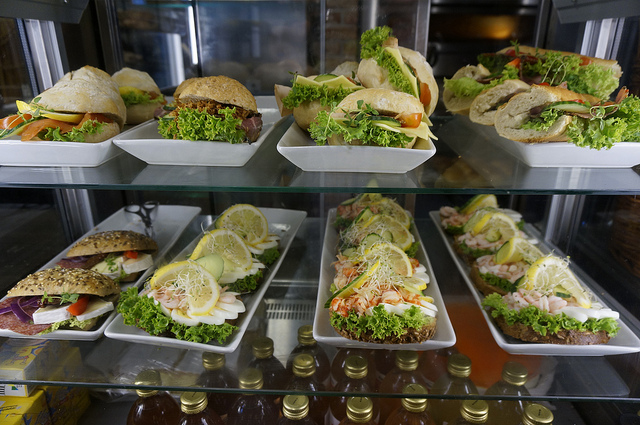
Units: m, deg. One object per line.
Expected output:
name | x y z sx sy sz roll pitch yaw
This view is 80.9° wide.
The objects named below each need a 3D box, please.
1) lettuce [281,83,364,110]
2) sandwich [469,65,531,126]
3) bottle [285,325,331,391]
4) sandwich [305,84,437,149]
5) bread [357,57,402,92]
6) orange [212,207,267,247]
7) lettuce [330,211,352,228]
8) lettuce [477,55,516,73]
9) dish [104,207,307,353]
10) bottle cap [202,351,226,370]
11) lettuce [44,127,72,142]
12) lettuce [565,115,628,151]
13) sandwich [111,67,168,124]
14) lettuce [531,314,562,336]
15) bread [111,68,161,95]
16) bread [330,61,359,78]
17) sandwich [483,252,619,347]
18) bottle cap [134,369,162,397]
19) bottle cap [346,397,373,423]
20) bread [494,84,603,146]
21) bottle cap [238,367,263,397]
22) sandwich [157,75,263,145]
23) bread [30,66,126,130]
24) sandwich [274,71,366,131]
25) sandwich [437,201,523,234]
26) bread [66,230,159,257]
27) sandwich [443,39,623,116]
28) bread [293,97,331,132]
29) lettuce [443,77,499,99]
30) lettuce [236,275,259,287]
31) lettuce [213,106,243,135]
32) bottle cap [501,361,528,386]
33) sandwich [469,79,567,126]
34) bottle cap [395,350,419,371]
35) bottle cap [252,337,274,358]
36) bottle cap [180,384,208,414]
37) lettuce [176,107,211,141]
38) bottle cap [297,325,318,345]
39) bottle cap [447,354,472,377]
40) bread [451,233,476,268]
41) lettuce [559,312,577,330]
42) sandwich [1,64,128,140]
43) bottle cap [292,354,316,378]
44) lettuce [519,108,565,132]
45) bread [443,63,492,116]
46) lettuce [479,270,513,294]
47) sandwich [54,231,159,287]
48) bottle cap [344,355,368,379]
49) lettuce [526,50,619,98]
lettuce | -0.001 -0.330 1.045 0.229 0.066 0.078 -9 14 -35
sandwich | 0.515 -0.345 1.125 0.063 0.174 0.186 31 27 9
bottle | -0.031 0.445 1.116 0.119 0.192 0.115 -4 10 1
sandwich | 0.155 -0.243 0.967 0.285 0.134 0.312 11 18 23
bread | 0.152 -0.416 1.102 0.130 0.054 0.168 29 26 22
orange | -0.270 0.044 1.331 0.164 0.102 0.126 14 30 24
lettuce | 0.087 0.032 1.481 0.056 0.021 0.055 3 31 13
lettuce | 0.579 -0.497 1.243 0.089 0.034 0.084 4 -1 -3
dish | -0.231 0.095 1.211 0.276 0.084 0.652 5 32 11
bottle cap | -0.293 0.409 1.033 0.060 0.034 0.033 0 28 -2
lettuce | -0.637 -0.187 0.910 0.041 0.042 0.015 -17 10 -29
lettuce | 0.671 -0.191 0.899 0.113 0.049 0.121 11 -2 -1
sandwich | -0.567 -0.370 1.238 0.186 0.120 0.183 2 8 10
lettuce | 0.606 0.301 1.008 0.073 0.042 0.042 -3 28 -8
bread | -0.609 -0.435 1.238 0.119 0.038 0.118 18 10 21
bread | 0.076 -0.439 1.154 0.072 0.019 0.070 -3 47 18
sandwich | 0.647 0.245 1.030 0.248 0.098 0.279 1 20 6
bottle cap | -0.468 0.456 1.021 0.066 0.041 0.065 -8 14 -35
bottle cap | 0.114 0.556 1.058 0.074 0.043 0.072 2 28 4
bread | 0.663 -0.249 0.991 0.321 0.124 0.225 -3 17 -19
bottle cap | -0.187 0.456 1.010 0.051 0.041 0.050 1 21 1
sandwich | -0.275 -0.251 0.953 0.217 0.105 0.212 -2 21 -12
bread | -0.643 -0.347 1.034 0.235 0.073 0.235 15 45 -2
sandwich | -0.008 -0.323 1.046 0.211 0.092 0.211 11 23 36
sandwich | 0.624 0.007 1.525 0.205 0.066 0.232 6 21 42
bread | -0.740 0.103 1.361 0.263 0.072 0.285 -3 -7 16
sandwich | 0.651 -0.417 1.150 0.341 0.119 0.340 18 35 27
bread | -0.012 -0.265 1.016 0.092 0.055 0.104 -5 17 -11
lettuce | 0.460 -0.394 1.177 0.103 0.084 0.039 16 67 14
lettuce | -0.230 0.211 1.170 0.039 0.016 0.036 5 21 6
lettuce | -0.227 -0.227 0.924 0.067 0.050 0.078 -5 28 -11
bottle cap | 0.531 0.443 1.032 0.070 0.036 0.055 -7 29 -16
sandwich | 0.564 -0.388 1.196 0.278 0.106 0.305 -1 31 15
bottle cap | 0.241 0.409 1.040 0.057 0.033 0.055 -1 25 1
bottle cap | -0.163 0.380 1.060 0.048 0.039 0.047 0 27 -2
bottle cap | -0.367 0.551 1.093 0.092 0.039 0.090 11 -7 -40
lettuce | -0.304 -0.214 0.915 0.086 0.071 0.043 3 28 4
bottle cap | -0.040 0.352 1.119 0.054 0.049 0.053 -5 22 -19
bottle cap | 0.390 0.426 1.045 0.064 0.044 0.046 10 29 17
bread | 0.525 0.133 1.366 0.075 0.034 0.096 -2 27 -1
lettuce | 0.660 0.293 0.998 0.044 0.030 0.025 13 30 22
sandwich | -0.632 -0.274 1.020 0.223 0.119 0.294 13 29 14
bottle cap | -0.045 0.425 1.042 0.055 0.031 0.053 1 27 1
lettuce | 0.541 -0.221 0.911 0.062 0.030 0.060 -11 11 35
bread | 0.507 -0.379 1.258 0.063 0.172 0.152 26 -1 -30
lettuce | 0.561 0.223 1.197 0.052 0.021 0.058 26 2 3
sandwich | -0.704 0.145 1.252 0.214 0.067 0.200 -1 23 -20
bottle cap | 0.099 0.431 1.052 0.062 0.039 0.058 2 27 2
lettuce | 0.783 -0.418 1.138 0.167 0.064 0.179 6 6 -4
